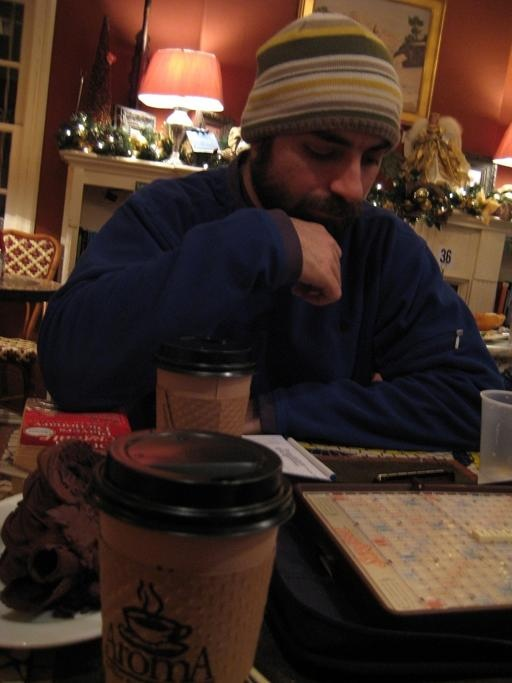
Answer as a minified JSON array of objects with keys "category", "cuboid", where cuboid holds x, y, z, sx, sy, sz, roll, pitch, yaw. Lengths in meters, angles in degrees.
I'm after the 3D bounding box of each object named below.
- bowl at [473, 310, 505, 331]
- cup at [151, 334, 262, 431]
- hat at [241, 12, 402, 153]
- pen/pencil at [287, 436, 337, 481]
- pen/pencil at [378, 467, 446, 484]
[{"category":"bowl","cuboid":[1.289,-0.116,3.002,0.191,0.086,0.205,2,-2,0]},{"category":"cup","cuboid":[-0.043,0.024,0.482,0.088,0.081,0.085,2,13,-1]},{"category":"hat","cuboid":[0.129,-0.415,1.005,0.262,0.196,0.253,-6,4,-40]},{"category":"pen/pencil","cuboid":[0.067,0.141,0.698,0.016,0.016,0.111,19,13,-28]},{"category":"pen/pencil","cuboid":[0.187,0.162,0.660,0.090,0.013,0.014,-4,48,-25]}]
